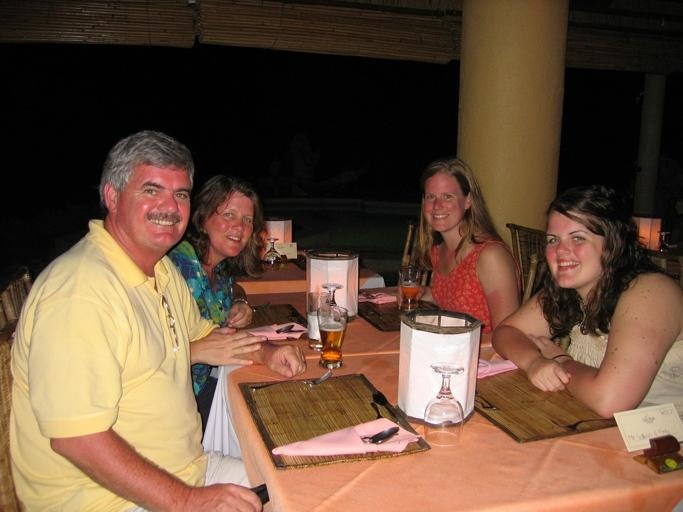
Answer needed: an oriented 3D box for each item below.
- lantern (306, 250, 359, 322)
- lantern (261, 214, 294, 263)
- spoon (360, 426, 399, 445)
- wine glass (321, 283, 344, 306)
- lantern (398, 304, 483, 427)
[{"bbox_3d":[-0.021,0.138,2.302,0.309,0.338,0.295,0,6,2],"label":"lantern"},{"bbox_3d":[-0.513,-0.146,4.034,0.342,0.408,0.427,0,3,-13],"label":"lantern"},{"bbox_3d":[0.113,0.507,1.347,0.126,0.018,0.033,-8,18,-9],"label":"spoon"},{"bbox_3d":[-0.039,0.162,2.103,0.100,0.104,0.094,-1,12,-1],"label":"wine glass"},{"bbox_3d":[0.232,0.330,1.539,0.331,0.349,0.297,0,13,3],"label":"lantern"}]
